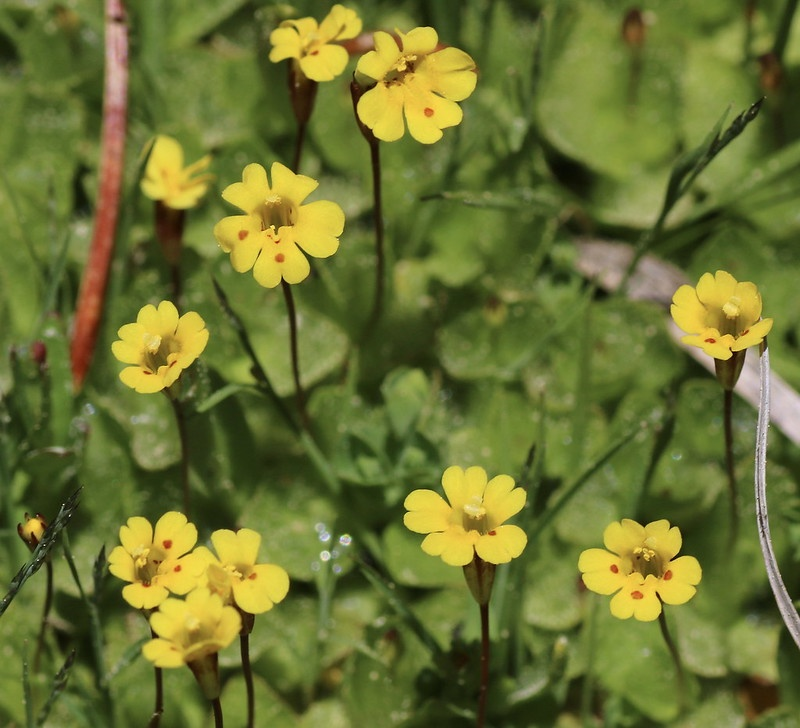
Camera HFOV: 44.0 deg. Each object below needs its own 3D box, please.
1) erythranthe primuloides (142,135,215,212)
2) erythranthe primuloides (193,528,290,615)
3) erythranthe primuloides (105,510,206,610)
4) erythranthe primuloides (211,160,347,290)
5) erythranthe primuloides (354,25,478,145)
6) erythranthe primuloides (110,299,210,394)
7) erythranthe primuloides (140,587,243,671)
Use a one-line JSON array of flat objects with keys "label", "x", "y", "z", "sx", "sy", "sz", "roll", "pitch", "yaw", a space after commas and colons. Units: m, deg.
[{"label": "erythranthe primuloides", "x": -0.161, "y": -0.138, "z": 0.722, "sx": 0.037, "sy": 0.054, "sz": 0.063, "roll": 11, "pitch": 73, "yaw": 5}, {"label": "erythranthe primuloides", "x": -0.092, "y": 0.115, "z": 0.549, "sx": 0.057, "sy": 0.022, "sz": 0.064, "roll": 24, "pitch": 20, "yaw": -10}, {"label": "erythranthe primuloides", "x": -0.140, "y": 0.112, "z": 0.553, "sx": 0.043, "sy": 0.024, "sz": 0.044, "roll": 32, "pitch": 80, "yaw": 42}, {"label": "erythranthe primuloides", "x": -0.073, "y": -0.079, "z": 0.595, "sx": 0.069, "sy": 0.046, "sz": 0.074, "roll": -40, "pitch": 77, "yaw": -11}, {"label": "erythranthe primuloides", "x": 0.007, "y": -0.167, "z": 0.590, "sx": 0.066, "sy": 0.024, "sz": 0.073, "roll": 29, "pitch": 76, "yaw": 9}, {"label": "erythranthe primuloides", "x": -0.142, "y": -0.008, "z": 0.598, "sx": 0.046, "sy": 0.027, "sz": 0.058, "roll": 7, "pitch": 70, "yaw": 24}, {"label": "erythranthe primuloides", "x": -0.108, "y": 0.135, "z": 0.517, "sx": 0.050, "sy": 0.026, "sz": 0.035, "roll": -19, "pitch": 73, "yaw": -5}]
